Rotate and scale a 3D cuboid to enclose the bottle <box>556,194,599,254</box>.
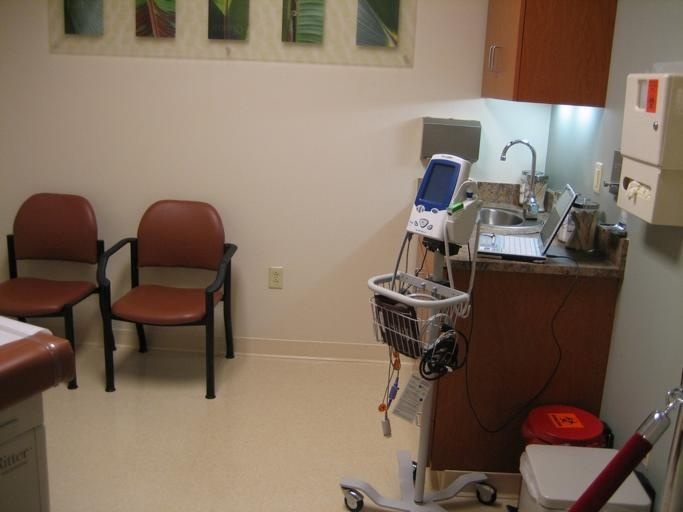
[{"bbox_3d":[1.115,-0.156,2.584,0.171,0.215,0.177,2,17,0],"label":"bottle"}]

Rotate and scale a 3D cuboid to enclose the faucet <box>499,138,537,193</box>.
[{"bbox_3d":[1.020,-0.505,3.199,0.209,0.370,0.066,7,44,21],"label":"faucet"}]

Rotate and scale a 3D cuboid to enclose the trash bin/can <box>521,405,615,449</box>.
[{"bbox_3d":[0.933,0.725,2.336,0.332,0.109,0.215,6,13,9],"label":"trash bin/can"}]

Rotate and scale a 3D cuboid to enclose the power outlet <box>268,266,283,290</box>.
[{"bbox_3d":[-0.410,0.128,3.460,0.105,0.175,0.032,1,11,0],"label":"power outlet"}]

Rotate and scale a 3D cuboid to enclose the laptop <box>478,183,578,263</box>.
[{"bbox_3d":[0.843,-0.176,2.553,0.390,0.306,0.526,7,13,14],"label":"laptop"}]

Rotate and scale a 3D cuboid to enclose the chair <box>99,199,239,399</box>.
[{"bbox_3d":[-1.013,0.222,3.278,0.775,1.247,0.734,2,16,1],"label":"chair"}]
